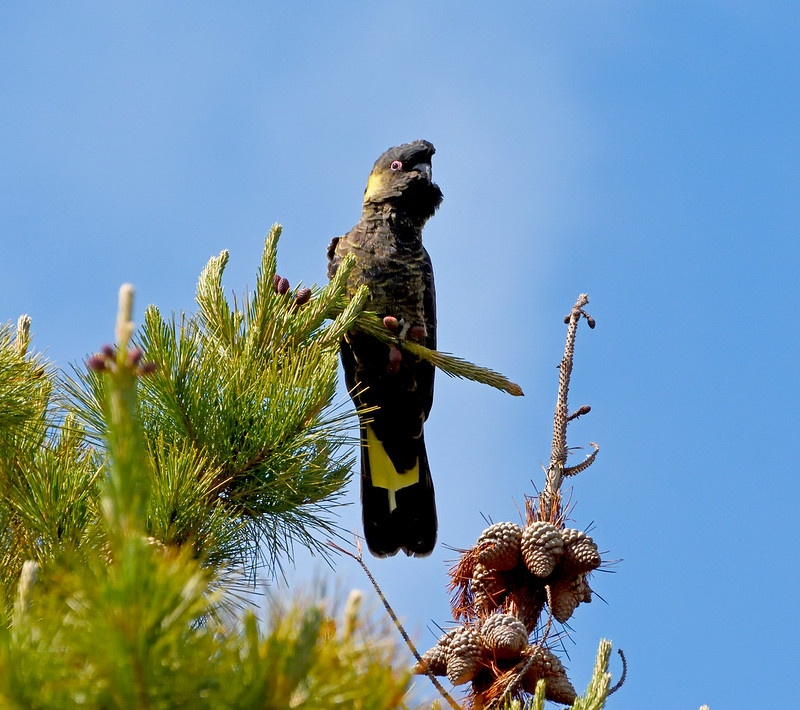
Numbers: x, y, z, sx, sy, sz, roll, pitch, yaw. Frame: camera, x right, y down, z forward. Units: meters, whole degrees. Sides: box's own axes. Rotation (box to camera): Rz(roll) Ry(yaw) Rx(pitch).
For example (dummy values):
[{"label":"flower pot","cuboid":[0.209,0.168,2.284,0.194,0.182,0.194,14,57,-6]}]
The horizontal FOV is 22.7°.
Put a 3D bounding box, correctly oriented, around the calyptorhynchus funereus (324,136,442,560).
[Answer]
[{"label":"calyptorhynchus funereus","cuboid":[-0.033,-0.020,8.649,0.454,1.919,0.927,-6,5,-9]}]
